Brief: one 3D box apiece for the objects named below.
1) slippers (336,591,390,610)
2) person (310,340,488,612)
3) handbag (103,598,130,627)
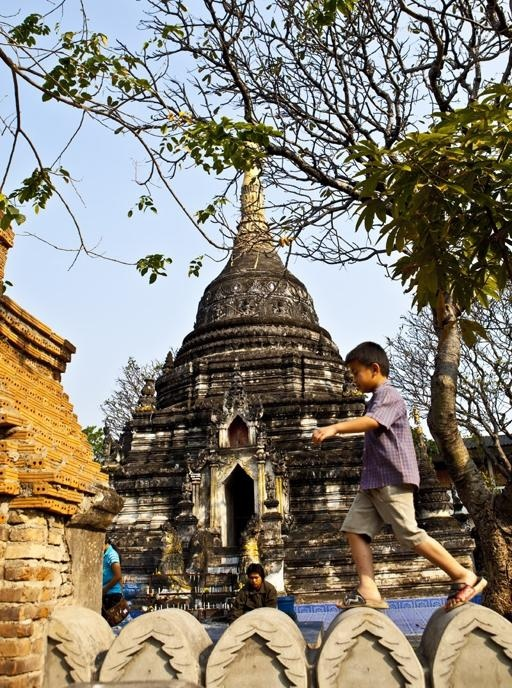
[{"bbox_3d":[0.468,1.137,3.010,0.252,0.083,0.140,5,-29,1],"label":"slippers"},{"bbox_3d":[0.630,0.584,3.211,0.662,1.271,0.743,-7,-33,14],"label":"person"},{"bbox_3d":[-1.149,2.204,5.630,0.207,0.231,0.384,8,-32,-9],"label":"handbag"}]
